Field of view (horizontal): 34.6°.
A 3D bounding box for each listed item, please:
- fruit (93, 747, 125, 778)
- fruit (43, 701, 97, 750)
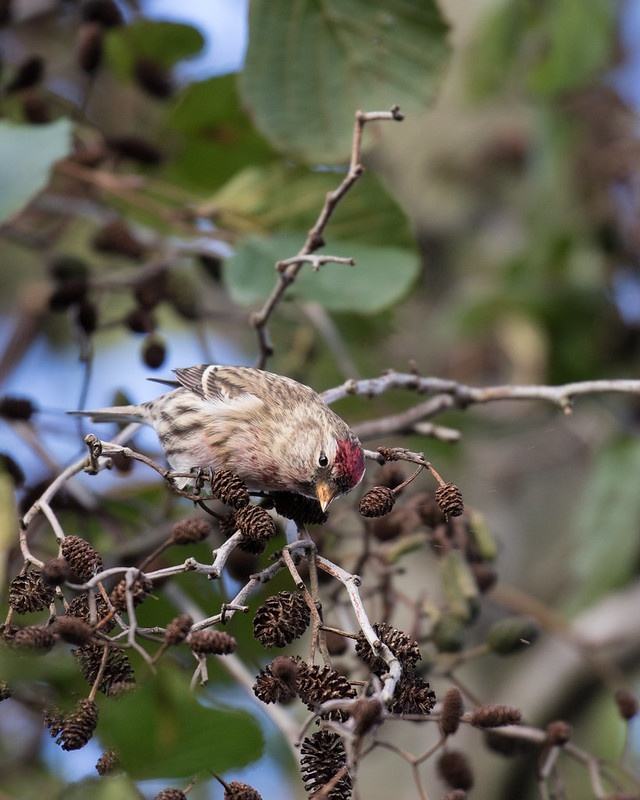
[{"bbox_3d":[-0.369,0.634,1.800,0.044,0.080,0.039,0,97,-13],"label":"fruit"},{"bbox_3d":[-0.407,0.550,1.721,0.058,0.091,0.044,-5,99,-11],"label":"fruit"}]
